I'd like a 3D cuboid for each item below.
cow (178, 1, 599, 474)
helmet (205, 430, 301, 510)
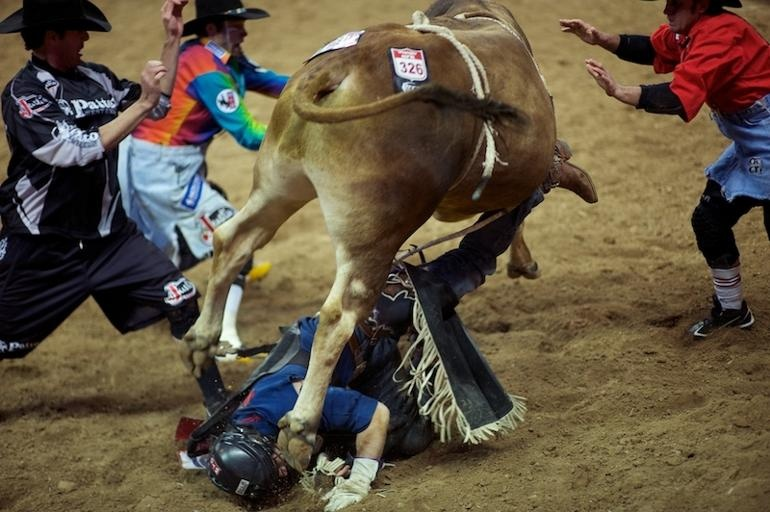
[{"bbox_3d":[0.024,-0.245,6.897,2.536,2.713,0.984,-16,18,-26],"label":"cow"},{"bbox_3d":[-0.924,1.434,6.899,0.457,0.543,0.605,21,20,37],"label":"helmet"}]
